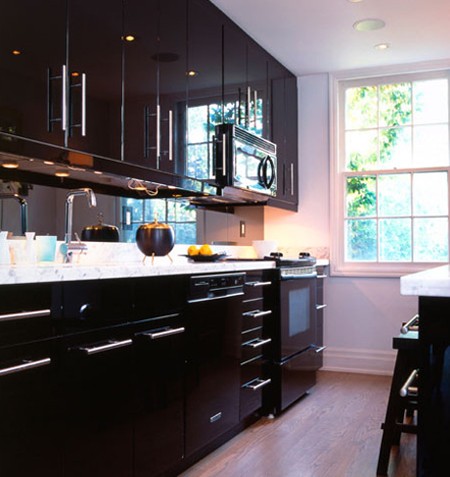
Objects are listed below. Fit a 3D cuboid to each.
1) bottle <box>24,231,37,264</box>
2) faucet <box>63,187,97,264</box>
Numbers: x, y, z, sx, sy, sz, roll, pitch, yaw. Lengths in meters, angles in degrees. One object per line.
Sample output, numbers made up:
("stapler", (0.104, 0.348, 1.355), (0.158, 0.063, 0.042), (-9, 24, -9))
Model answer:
("bottle", (-0.677, 0.031, 1.557), (0.031, 0.115, 0.114), (1, -4, -18))
("faucet", (-0.635, -0.054, 1.935), (0.129, 0.317, 0.412), (1, -4, -18))
